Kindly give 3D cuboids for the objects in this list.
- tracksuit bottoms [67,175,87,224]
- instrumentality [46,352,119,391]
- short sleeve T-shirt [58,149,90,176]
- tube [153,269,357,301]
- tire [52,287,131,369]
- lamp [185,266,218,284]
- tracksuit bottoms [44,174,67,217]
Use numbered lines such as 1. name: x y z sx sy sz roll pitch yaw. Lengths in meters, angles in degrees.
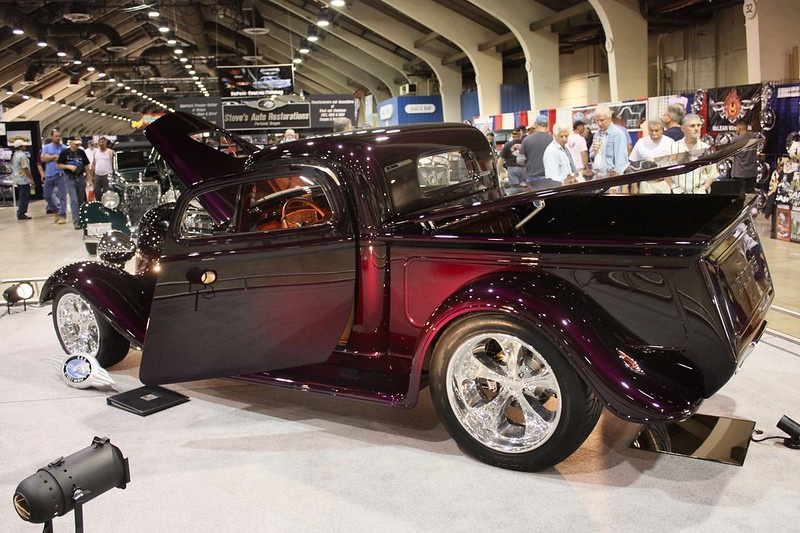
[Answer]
1. tracksuit bottoms: -9.099 -1.946 14.013 0.515 1.533 0.356 -9 8 -36
2. instrumentality: -2.688 0.916 4.288 0.844 0.273 0.255 7 -14 19
3. short sleeve T-shirt: -9.084 -2.929 13.804 0.381 0.743 0.791 -1 5 41
4. tube: -1.006 0.136 3.385 1.469 0.311 0.170 -1 -6 0
5. tire: -2.684 0.520 4.318 0.606 0.617 0.219 -17 5 33
6. lamp: -1.348 0.069 3.371 0.188 0.106 0.074 7 7 25
7. tracksuit bottoms: -10.424 -2.223 15.018 0.638 1.454 0.541 -2 0 -38
